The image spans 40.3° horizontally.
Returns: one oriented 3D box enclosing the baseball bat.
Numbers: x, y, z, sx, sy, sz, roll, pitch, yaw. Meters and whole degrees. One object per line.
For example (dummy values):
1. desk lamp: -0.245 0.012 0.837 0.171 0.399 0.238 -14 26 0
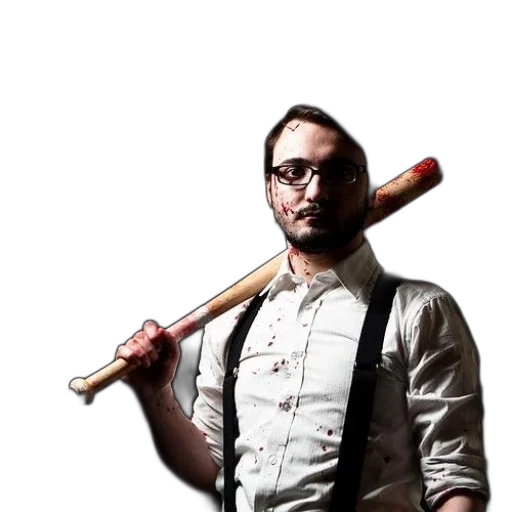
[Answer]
1. baseball bat: 0.025 0.114 2.508 1.729 0.196 0.189 -31 -4 -5
